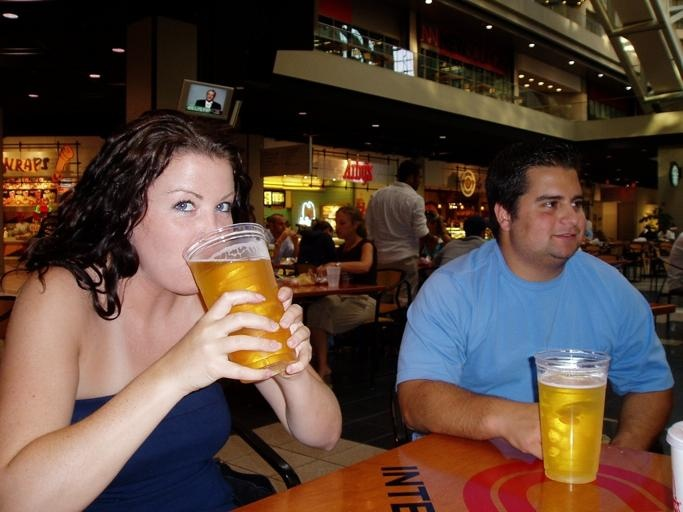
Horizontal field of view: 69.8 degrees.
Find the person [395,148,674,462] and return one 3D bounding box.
[{"bbox_3d":[0.655,0.131,1.590,0.961,0.922,0.648,3,7,-8],"label":"person"}]

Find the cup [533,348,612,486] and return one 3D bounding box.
[{"bbox_3d":[0.476,0.312,0.977,0.176,0.242,0.134,0,4,-2],"label":"cup"}]

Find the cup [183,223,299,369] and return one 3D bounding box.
[{"bbox_3d":[-0.196,0.079,0.957,0.200,0.283,0.167,-1,4,-23],"label":"cup"}]

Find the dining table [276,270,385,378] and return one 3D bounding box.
[{"bbox_3d":[-0.153,0.581,4.527,1.024,0.899,0.984,-1,1,-43],"label":"dining table"}]

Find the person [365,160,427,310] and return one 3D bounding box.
[{"bbox_3d":[0.741,-0.086,5.958,0.735,2.060,0.580,15,24,35],"label":"person"}]

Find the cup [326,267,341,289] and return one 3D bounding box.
[{"bbox_3d":[-0.060,0.185,4.152,0.185,0.231,0.162,0,-4,4],"label":"cup"}]
